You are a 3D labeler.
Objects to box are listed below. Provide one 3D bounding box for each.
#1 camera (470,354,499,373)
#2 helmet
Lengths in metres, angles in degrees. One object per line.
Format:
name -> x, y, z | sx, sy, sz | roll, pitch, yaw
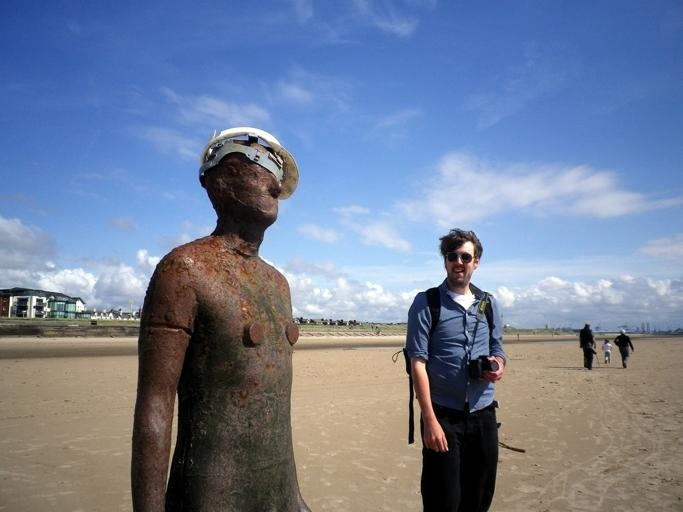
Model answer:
camera -> 1.190, 0.868, 3.666 | 0.151, 0.107, 0.155 | -1, -2, -29
helmet -> -0.396, -0.528, 2.327 | 0.520, 0.255, 0.418 | 13, -1, 37
